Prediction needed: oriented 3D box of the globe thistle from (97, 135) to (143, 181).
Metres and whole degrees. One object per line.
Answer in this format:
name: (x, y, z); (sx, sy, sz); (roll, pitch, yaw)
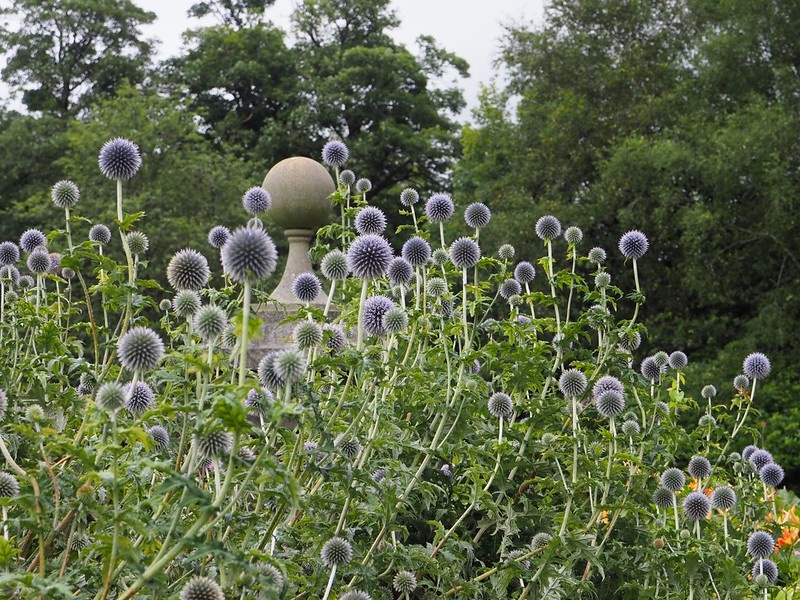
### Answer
globe thistle: (-6.497, -3.166, 35.678); (0.944, 1.047, 0.975); (7, 22, 33)

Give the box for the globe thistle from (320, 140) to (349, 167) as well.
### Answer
globe thistle: (-1.556, -3.578, 38.397); (0.641, 0.658, 0.631); (-22, 42, -33)
